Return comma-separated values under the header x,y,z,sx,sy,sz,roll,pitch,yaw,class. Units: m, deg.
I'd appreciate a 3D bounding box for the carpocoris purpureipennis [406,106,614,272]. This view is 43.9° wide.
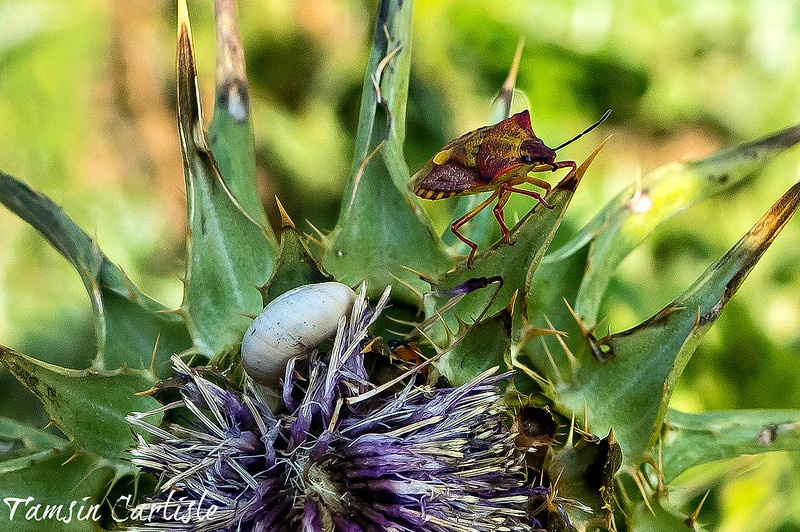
x,y,z,sx,sy,sz,roll,pitch,yaw,class
0.214,-0.122,1.882,0.291,0.116,0.269,-11,37,28,carpocoris purpureipennis
